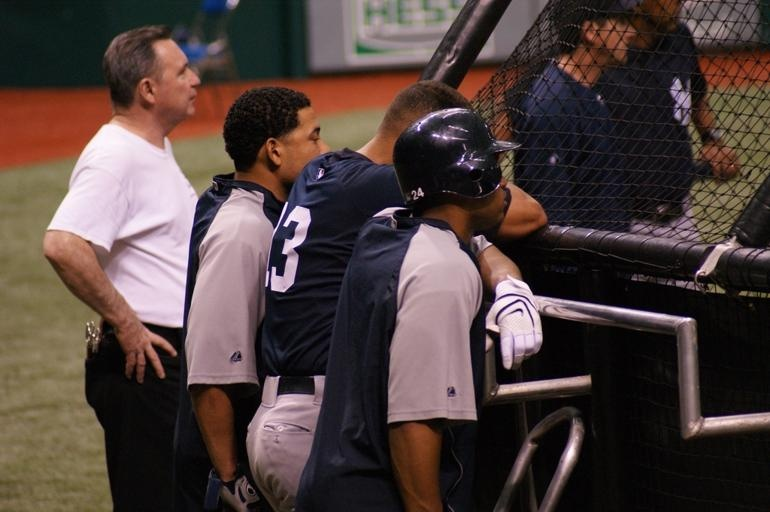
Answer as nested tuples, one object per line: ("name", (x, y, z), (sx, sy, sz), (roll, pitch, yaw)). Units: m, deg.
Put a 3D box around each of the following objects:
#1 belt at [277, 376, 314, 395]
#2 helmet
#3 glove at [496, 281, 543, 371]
("belt", (-0.318, 0.457, 3.959), (0.082, 0.022, 0.086), (0, 12, -1))
("helmet", (0.233, -0.349, 3.754), (0.430, 0.323, 0.317), (-10, 6, 7))
("glove", (0.428, 0.221, 3.625), (0.155, 0.269, 0.102), (-7, -15, 0))
